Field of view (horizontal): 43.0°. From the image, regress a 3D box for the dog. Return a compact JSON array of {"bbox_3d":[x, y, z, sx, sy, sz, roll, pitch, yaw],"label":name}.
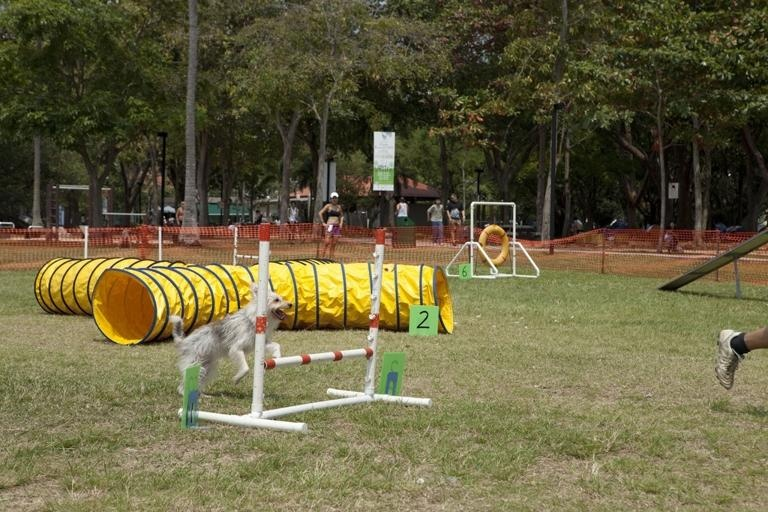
[{"bbox_3d":[-2.773,1.550,17.190,3.367,2.033,0.982,0,-1,34],"label":"dog"}]
